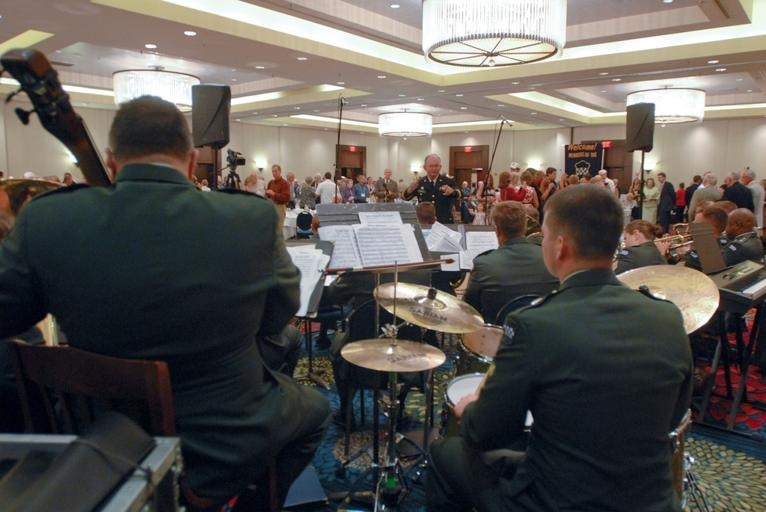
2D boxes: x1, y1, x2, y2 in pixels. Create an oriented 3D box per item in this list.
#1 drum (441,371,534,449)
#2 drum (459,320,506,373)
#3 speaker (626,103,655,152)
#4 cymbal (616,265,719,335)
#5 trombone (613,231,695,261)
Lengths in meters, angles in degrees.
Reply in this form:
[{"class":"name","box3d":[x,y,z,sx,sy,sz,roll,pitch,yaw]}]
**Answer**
[{"class":"drum","box3d":[0.542,0.724,2.974,0.442,0.387,0.425,3,6,25]},{"class":"drum","box3d":[0.558,0.569,3.552,0.392,0.375,0.402,-3,-4,18]},{"class":"speaker","box3d":[2.841,-1.416,6.357,0.271,0.532,0.244,2,12,18]},{"class":"cymbal","box3d":[1.358,0.207,2.758,0.402,0.311,0.329,29,17,10]},{"class":"trombone","box3d":[2.161,-0.085,4.555,0.596,0.290,0.337,-2,13,-17]}]
